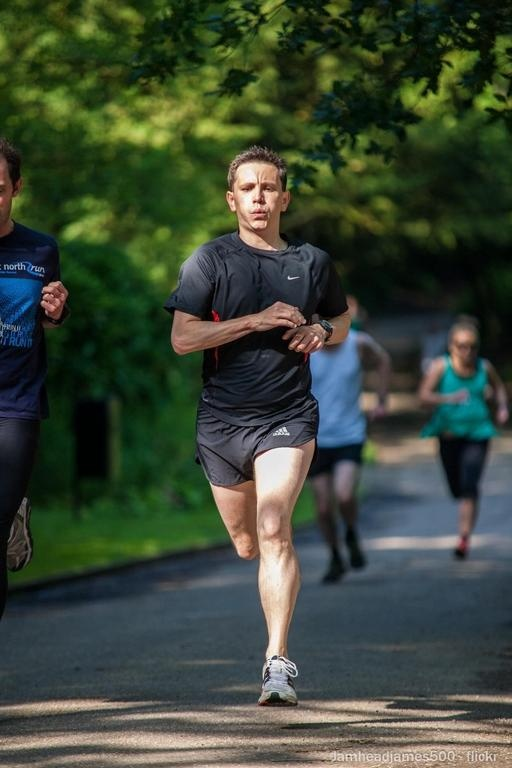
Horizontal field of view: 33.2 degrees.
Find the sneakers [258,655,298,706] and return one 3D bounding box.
[{"bbox_3d":[0.069,0.839,2.432,0.090,0.072,0.182,1,-9,0],"label":"sneakers"}]

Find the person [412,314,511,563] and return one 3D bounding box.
[{"bbox_3d":[0.931,0.260,3.818,0.370,1.011,0.187,-3,-5,8],"label":"person"}]

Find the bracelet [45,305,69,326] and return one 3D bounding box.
[{"bbox_3d":[-0.663,-0.236,2.961,0.092,0.033,0.065,-33,20,-17],"label":"bracelet"}]

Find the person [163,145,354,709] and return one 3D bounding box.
[{"bbox_3d":[0.005,0.041,2.880,0.623,1.847,0.916,-3,-5,6],"label":"person"}]
